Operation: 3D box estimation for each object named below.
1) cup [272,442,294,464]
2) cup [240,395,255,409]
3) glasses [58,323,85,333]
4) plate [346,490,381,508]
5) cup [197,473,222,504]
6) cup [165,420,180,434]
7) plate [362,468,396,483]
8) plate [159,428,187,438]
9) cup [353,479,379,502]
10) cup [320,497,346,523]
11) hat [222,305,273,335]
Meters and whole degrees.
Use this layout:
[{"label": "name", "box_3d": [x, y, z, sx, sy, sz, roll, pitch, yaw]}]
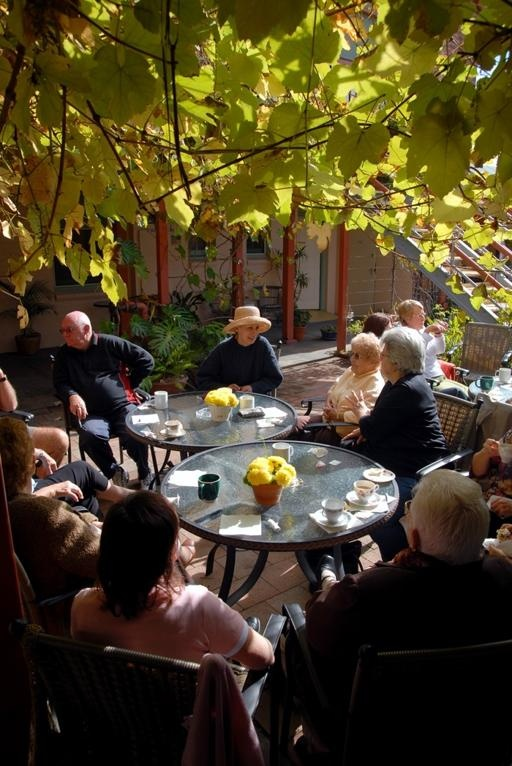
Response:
[{"label": "cup", "box_3d": [0.141, 0.399, 3.009, 0.084, 0.111, 0.132, 5, 9, 27]}, {"label": "cup", "box_3d": [-0.077, 0.142, 3.943, 0.100, 0.070, 0.098, 6, 18, -2]}, {"label": "glasses", "box_3d": [-1.514, -0.454, 4.376, 0.116, 0.127, 0.128, 3, 24, 14]}, {"label": "plate", "box_3d": [0.527, 0.555, 2.556, 0.187, 0.051, 0.154, 0, 7, -13]}, {"label": "cup", "box_3d": [-0.229, 0.516, 2.634, 0.094, 0.121, 0.136, 10, 26, 22]}, {"label": "cup", "box_3d": [-0.551, 0.300, 3.498, 0.075, 0.062, 0.093, 0, 2, 16]}, {"label": "plate", "box_3d": [0.639, 0.495, 2.851, 0.170, 0.043, 0.196, 0, 7, -17]}, {"label": "plate", "box_3d": [-0.542, 0.330, 3.462, 0.165, 0.046, 0.125, 0, 7, -11]}, {"label": "cup", "box_3d": [0.527, 0.524, 2.580, 0.080, 0.062, 0.094, -1, 9, -7]}, {"label": "cup", "box_3d": [0.340, 0.561, 2.349, 0.094, 0.071, 0.098, 0, 1, 0]}, {"label": "hat", "box_3d": [-0.118, -0.555, 4.582, 0.297, 0.156, 0.309, -3, -13, -30]}]
